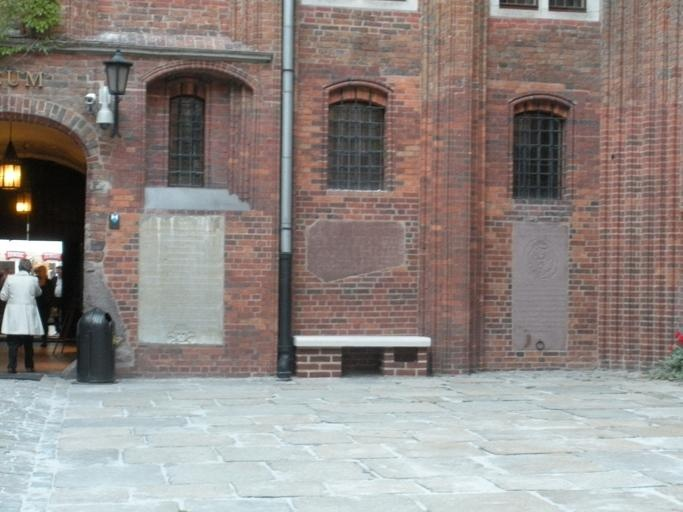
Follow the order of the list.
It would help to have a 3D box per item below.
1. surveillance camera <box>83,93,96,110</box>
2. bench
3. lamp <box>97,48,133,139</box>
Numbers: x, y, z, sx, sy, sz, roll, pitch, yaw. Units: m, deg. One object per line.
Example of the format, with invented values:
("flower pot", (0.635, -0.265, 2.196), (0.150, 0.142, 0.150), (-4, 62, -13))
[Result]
("surveillance camera", (-4.818, -2.970, 24.145), (0.239, 0.321, 0.202), (0, 11, -9))
("bench", (0.349, 1.984, 24.895), (2.647, 0.820, 0.713), (0, 10, -7))
("lamp", (-4.314, -3.107, 24.038), (0.586, 1.655, 0.557), (1, 12, -7))
